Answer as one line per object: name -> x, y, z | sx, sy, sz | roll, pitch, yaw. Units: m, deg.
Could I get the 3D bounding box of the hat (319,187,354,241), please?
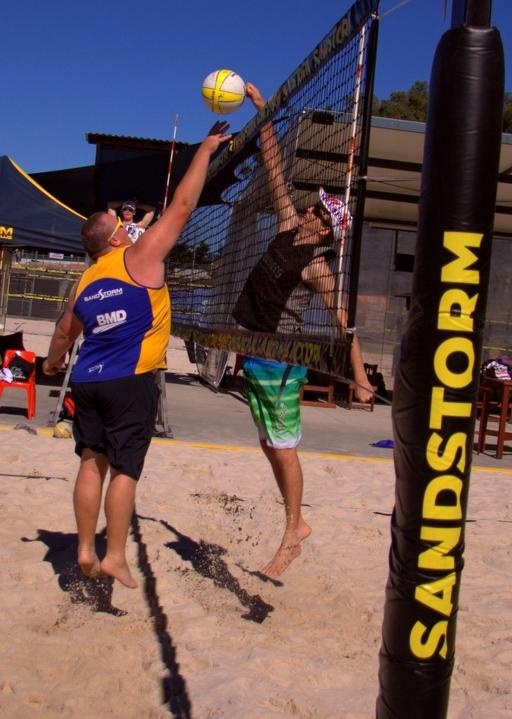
hat -> 0.321, -0.600, 2.286 | 0.069, 0.214, 0.308 | 5, 1, -12

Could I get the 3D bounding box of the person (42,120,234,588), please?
person -> -0.576, -0.007, 2.369 | 0.670, 1.658, 0.341 | 6, 1, 33

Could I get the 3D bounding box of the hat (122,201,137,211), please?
hat -> -1.534, -1.832, 6.844 | 0.145, 0.182, 0.087 | 3, -36, 4

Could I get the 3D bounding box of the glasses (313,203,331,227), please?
glasses -> 0.284, -0.620, 2.441 | 0.031, 0.113, 0.066 | -10, -39, -15

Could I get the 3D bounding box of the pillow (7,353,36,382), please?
pillow -> -2.583, 0.065, 6.252 | 0.262, 0.316, 0.118 | 11, -14, -7
